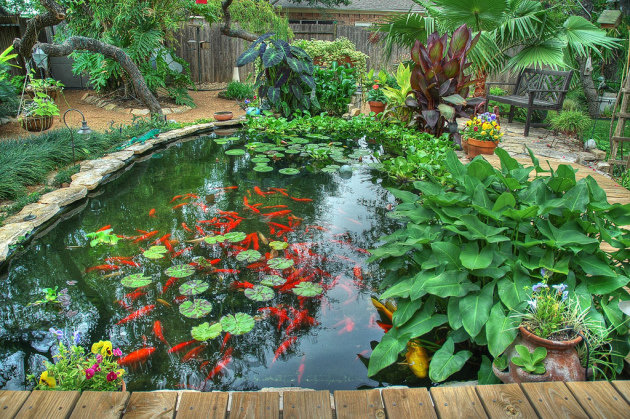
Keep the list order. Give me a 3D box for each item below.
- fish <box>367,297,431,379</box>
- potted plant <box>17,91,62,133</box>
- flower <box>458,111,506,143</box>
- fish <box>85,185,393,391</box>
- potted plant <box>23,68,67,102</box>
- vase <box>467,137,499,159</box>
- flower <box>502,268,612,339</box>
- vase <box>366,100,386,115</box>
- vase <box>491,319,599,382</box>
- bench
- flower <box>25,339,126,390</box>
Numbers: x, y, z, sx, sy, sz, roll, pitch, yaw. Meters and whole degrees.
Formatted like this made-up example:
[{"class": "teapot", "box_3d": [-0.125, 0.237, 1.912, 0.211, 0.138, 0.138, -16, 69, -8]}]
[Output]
[{"class": "fish", "box_3d": [0.847, 1.268, 3.853, 0.281, 0.194, 0.782, -30, 13, -3]}, {"class": "potted plant", "box_3d": [-5.204, -1.717, 7.810, 0.482, 0.505, 0.512, -6, 14, -13]}, {"class": "flower", "box_3d": [2.753, -1.352, 7.042, 0.632, 0.478, 0.568, -21, 21, -38]}, {"class": "fish", "box_3d": [-0.820, 0.933, 4.190, 2.546, 0.572, 2.333, 0, 35, -5]}, {"class": "potted plant", "box_3d": [-6.482, -2.793, 9.942, 0.806, 0.451, 0.816, 17, 23, 39]}, {"class": "vase", "box_3d": [2.725, -1.001, 6.912, 0.484, 0.326, 0.339, 15, 28, 26]}, {"class": "flower", "box_3d": [1.801, 0.783, 3.309, 0.582, 0.216, 0.532, 0, 49, 2]}, {"class": "vase", "box_3d": [1.533, -2.478, 10.408, 0.444, 0.301, 0.421, 1, 11, -1]}, {"class": "vase", "box_3d": [1.692, 1.026, 3.093, 0.538, 0.467, 0.434, 5, 6, 42]}, {"class": "bench", "box_3d": [4.550, -2.381, 9.206, 0.878, 1.308, 2.042, -3, 22, -4]}, {"class": "flower", "box_3d": [-1.793, 1.150, 3.169, 0.483, 0.242, 0.618, 8, 5, -17]}]
